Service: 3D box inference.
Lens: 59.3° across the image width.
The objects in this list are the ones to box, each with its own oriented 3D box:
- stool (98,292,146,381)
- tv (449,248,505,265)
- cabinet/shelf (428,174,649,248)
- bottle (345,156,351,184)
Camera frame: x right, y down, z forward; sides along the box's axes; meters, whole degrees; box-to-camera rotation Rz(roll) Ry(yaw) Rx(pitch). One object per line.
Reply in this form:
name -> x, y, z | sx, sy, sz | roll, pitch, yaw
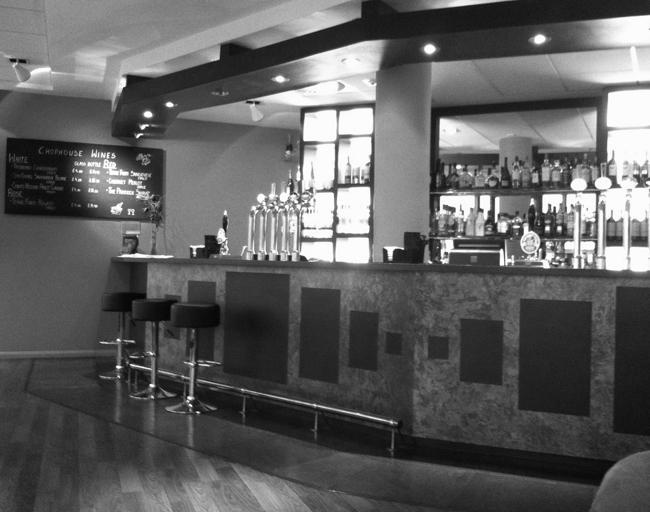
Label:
stool -> -2.162, 0.816, 6.056 | 0.420, 0.873, 0.453 | 0, -5, 4
tv -> 1.102, -0.002, 4.178 | 0.395, 0.116, 0.494 | 1, 1, 17
cabinet/shelf -> 2.527, -0.488, 7.055 | 2.238, 0.684, 2.459 | 1, 1, 20
bottle -> 0.275, -1.069, 7.093 | 0.092, 0.363, 0.202 | 0, 1, -9
